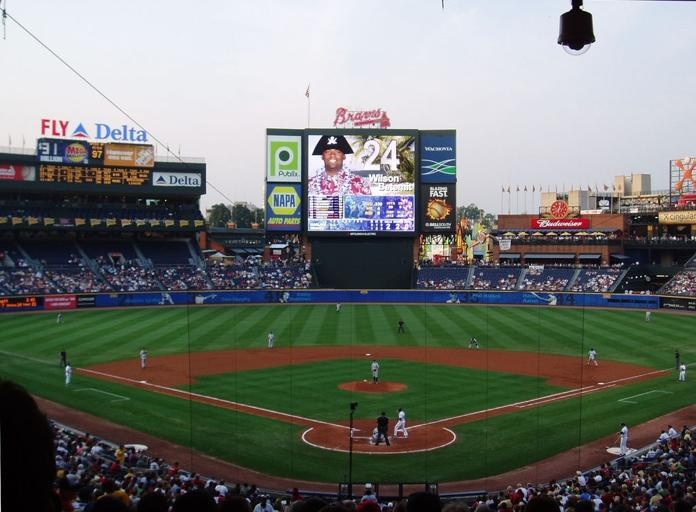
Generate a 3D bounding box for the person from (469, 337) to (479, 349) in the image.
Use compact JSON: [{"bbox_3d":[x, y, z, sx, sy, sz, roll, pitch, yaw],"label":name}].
[{"bbox_3d":[10.874,7.538,88.404,0.607,0.398,0.866,30,-3,34],"label":"person"}]
